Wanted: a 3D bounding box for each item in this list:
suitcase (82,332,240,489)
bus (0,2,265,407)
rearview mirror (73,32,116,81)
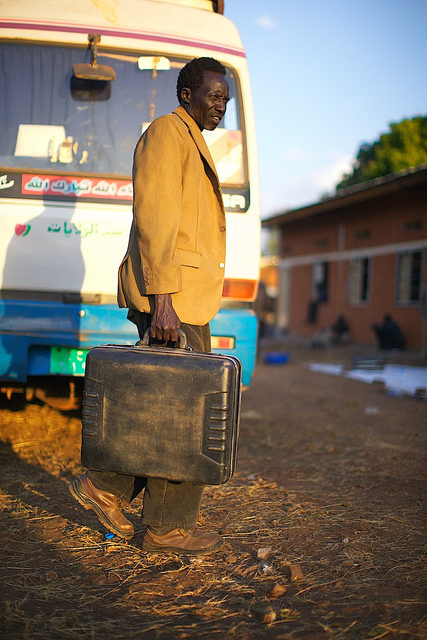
[{"bbox_3d":[-0.213,0.330,2.425,0.609,0.571,0.209,5,8,11],"label":"suitcase"},{"bbox_3d":[-0.811,-0.976,5.121,1.750,2.648,2.752,1,2,-4],"label":"bus"},{"bbox_3d":[-0.767,-1.703,3.970,0.271,0.308,0.124,1,3,-10],"label":"rearview mirror"}]
